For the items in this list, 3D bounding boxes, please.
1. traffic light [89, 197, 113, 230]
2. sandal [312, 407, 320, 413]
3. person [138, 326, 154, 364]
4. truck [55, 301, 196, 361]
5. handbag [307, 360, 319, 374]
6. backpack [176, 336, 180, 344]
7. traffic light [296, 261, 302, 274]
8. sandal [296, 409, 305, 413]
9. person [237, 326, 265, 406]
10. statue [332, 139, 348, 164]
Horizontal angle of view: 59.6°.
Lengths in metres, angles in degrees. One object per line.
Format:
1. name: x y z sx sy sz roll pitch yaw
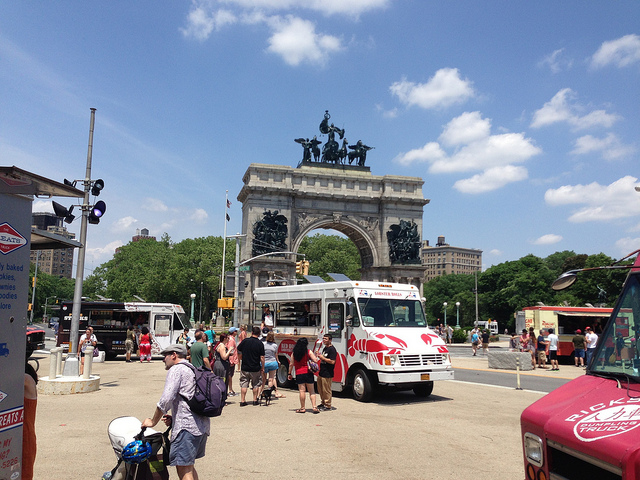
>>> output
1. traffic light: -6.869 -0.865 17.064 0.380 0.702 0.500 5 -10 -22
2. sandal: -0.085 4.073 13.469 0.142 0.117 0.238 -2 -11 18
3. person: -8.537 4.970 27.103 0.625 1.886 0.592 0 19 -17
4. truck: -9.706 4.567 29.242 6.718 3.393 2.732 0 1 10
5. handbag: -0.174 3.089 13.673 0.196 0.189 0.326 27 3 -40
6. backpack: -7.284 5.055 28.339 0.134 0.399 0.383 15 -10 -23
7. traffic light: -1.375 1.715 35.875 0.378 0.728 0.957 2 -10 -2
8. sandal: -0.508 4.128 13.545 0.147 0.074 0.223 8 -12 -31
9. person: -1.883 3.316 14.906 0.731 2.025 1.064 2 -9 -6
10. statue: 1.897 -8.651 55.172 1.345 2.668 0.766 9 -12 -38
